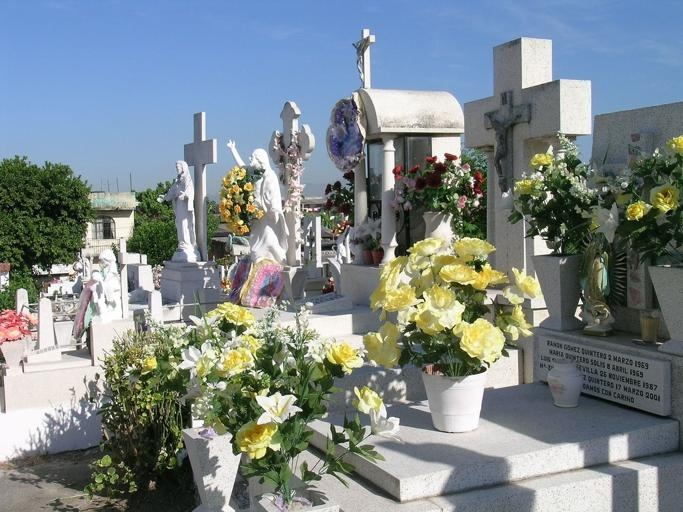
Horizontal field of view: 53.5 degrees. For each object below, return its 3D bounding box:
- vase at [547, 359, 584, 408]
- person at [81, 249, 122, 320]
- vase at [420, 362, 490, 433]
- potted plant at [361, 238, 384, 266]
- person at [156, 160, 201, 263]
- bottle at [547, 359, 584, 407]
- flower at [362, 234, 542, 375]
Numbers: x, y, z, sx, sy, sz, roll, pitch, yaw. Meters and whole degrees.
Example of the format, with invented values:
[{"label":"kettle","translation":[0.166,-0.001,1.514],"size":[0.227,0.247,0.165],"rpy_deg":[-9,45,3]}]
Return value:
[{"label":"vase","translation":[1.776,1.015,5.469],"size":[0.319,0.405,0.325],"rpy_deg":[0,6,19]},{"label":"person","translation":[-2.757,0.360,7.862],"size":[0.316,0.783,0.359],"rpy_deg":[-8,13,-14]},{"label":"vase","translation":[0.831,1.034,5.010],"size":[0.424,0.369,0.456],"rpy_deg":[0,-3,-15]},{"label":"potted plant","translation":[0.393,-0.042,8.646],"size":[0.285,0.221,0.298],"rpy_deg":[0,5,6]},{"label":"person","translation":[-3.225,-0.878,13.593],"size":[0.612,2.044,0.892],"rpy_deg":[-7,13,-12]},{"label":"bottle","translation":[1.762,1.020,5.452],"size":[0.316,0.403,0.323],"rpy_deg":[-2,6,0]},{"label":"flower","translation":[0.789,0.422,4.817],"size":[1.041,1.099,0.983],"rpy_deg":[1,15,23]}]
